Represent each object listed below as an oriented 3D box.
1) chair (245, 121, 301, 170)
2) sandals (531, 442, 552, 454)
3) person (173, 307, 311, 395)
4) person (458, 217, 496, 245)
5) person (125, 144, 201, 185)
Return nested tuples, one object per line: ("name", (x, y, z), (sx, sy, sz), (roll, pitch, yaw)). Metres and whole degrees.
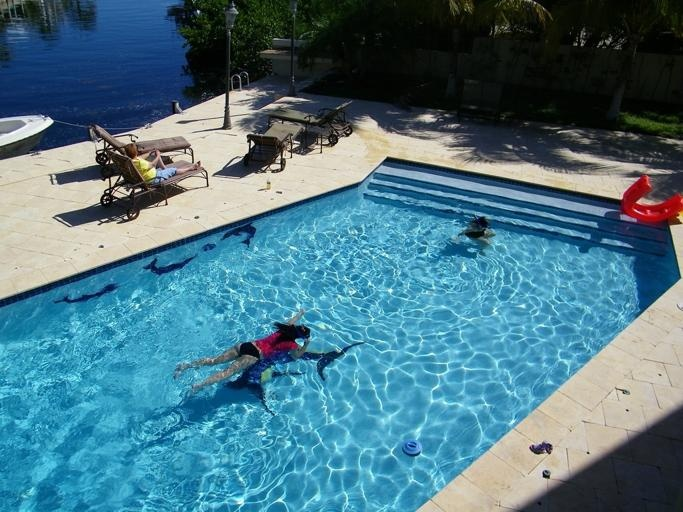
("chair", (-1.893, -3.028, 13.725), (1.173, 0.664, 1.955), (13, 38, 19))
("sandals", (2.702, 2.588, 6.687), (0.234, 0.077, 0.141), (-3, 26, -11))
("person", (-1.538, 1.514, 8.059), (2.344, 0.578, 0.680), (-13, 29, -16))
("person", (3.092, -0.562, 11.188), (0.817, 0.277, 0.656), (20, 78, 21))
("person", (-4.239, -2.160, 11.322), (1.873, 0.779, 0.724), (-20, 48, -42))
